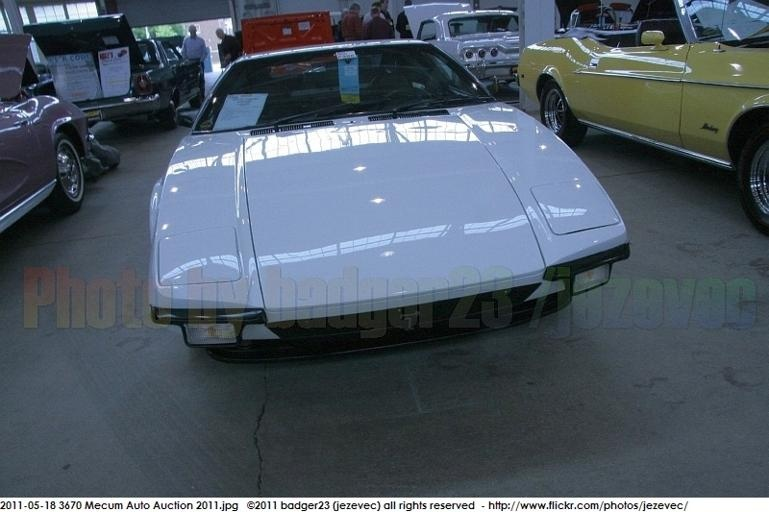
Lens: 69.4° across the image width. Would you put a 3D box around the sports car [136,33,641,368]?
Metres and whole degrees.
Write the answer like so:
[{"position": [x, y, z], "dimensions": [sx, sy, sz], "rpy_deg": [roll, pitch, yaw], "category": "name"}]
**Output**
[{"position": [-0.138, -0.589, 3.657], "dimensions": [2.675, 1.482, 2.184], "rpy_deg": [-8, 22, -5], "category": "sports car"}]
